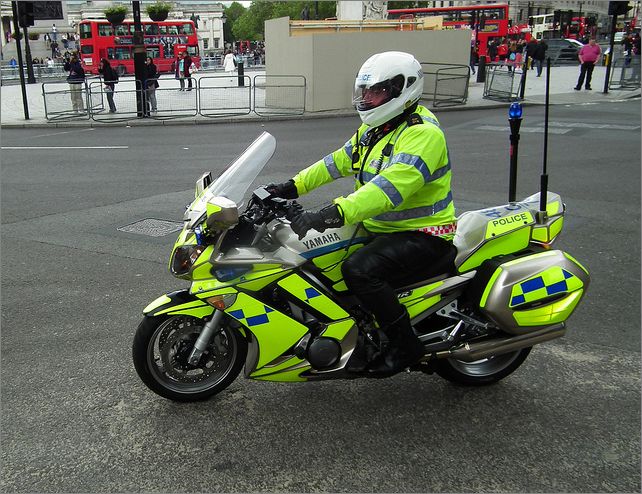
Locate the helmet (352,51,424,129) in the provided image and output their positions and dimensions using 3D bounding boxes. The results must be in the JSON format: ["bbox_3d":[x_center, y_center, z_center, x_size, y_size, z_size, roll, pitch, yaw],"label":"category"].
[{"bbox_3d":[0.445,-1.054,3.673,0.455,0.500,0.283,0,20,4],"label":"helmet"}]

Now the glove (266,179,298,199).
[{"bbox_3d":[-0.263,-0.387,3.726,0.190,0.069,0.169,-6,23,-18],"label":"glove"}]

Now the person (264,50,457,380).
[{"bbox_3d":[0.417,-0.217,3.694,1.194,2.131,0.961,-2,20,-2],"label":"person"}]

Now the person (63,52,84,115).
[{"bbox_3d":[-8.951,-6.002,20.082,0.605,2.092,1.127,-9,21,-20],"label":"person"}]

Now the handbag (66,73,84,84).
[{"bbox_3d":[-8.838,-6.083,19.742,0.585,0.331,0.562,-6,18,-17],"label":"handbag"}]

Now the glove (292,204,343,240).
[{"bbox_3d":[-0.022,-0.167,3.276,0.194,0.116,0.298,-13,9,42],"label":"glove"}]
